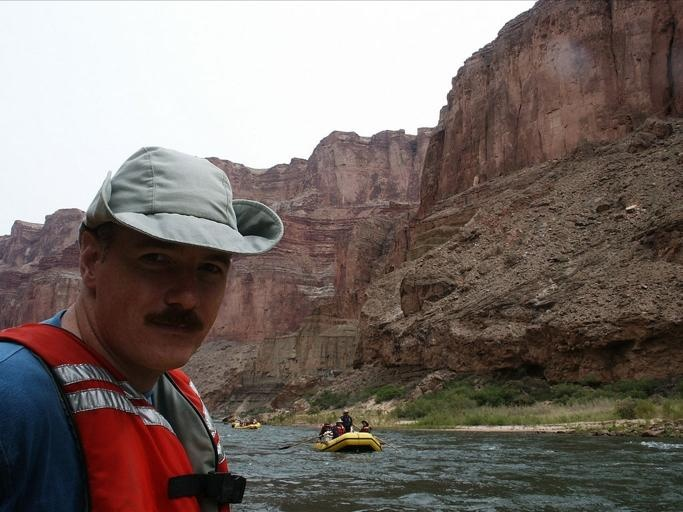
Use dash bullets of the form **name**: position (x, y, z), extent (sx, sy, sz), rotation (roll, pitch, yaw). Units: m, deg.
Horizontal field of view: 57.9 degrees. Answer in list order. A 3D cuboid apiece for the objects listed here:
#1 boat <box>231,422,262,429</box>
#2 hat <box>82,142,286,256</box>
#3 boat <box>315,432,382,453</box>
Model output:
- **boat**: position (-5.639, 10.270, 37.322), extent (1.967, 0.401, 1.096), rotation (4, -15, -10)
- **hat**: position (-0.561, -0.168, 2.160), extent (0.520, 0.262, 0.637), rotation (18, -10, -34)
- **boat**: position (0.243, 4.912, 16.320), extent (0.529, 0.508, 1.981), rotation (8, -19, -35)
